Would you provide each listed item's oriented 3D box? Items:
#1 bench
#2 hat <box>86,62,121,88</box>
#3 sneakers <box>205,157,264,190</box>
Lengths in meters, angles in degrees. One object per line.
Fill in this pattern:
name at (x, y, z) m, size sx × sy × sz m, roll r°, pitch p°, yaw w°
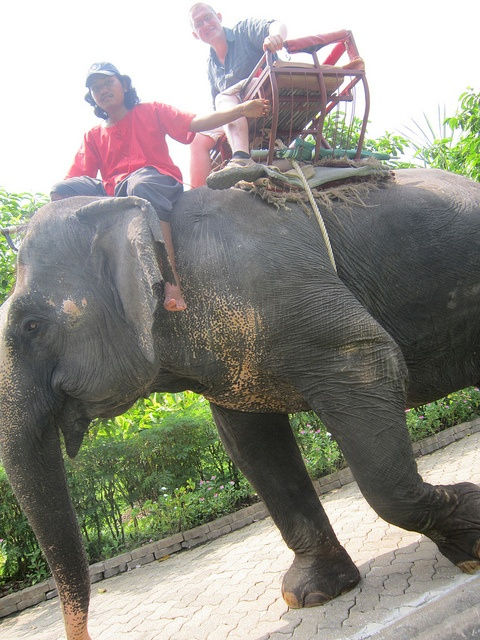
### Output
bench at (0.267, -0.955, 2.140) m, size 0.320 × 0.376 × 0.528 m, roll -12°, pitch 22°, yaw 1°
hat at (-0.543, -0.960, 2.034) m, size 0.131 × 0.091 × 0.050 m, roll -21°, pitch -3°, yaw -10°
sneakers at (-0.024, -0.513, 1.874) m, size 0.252 × 0.099 × 0.086 m, roll -15°, pitch -26°, yaw -24°
